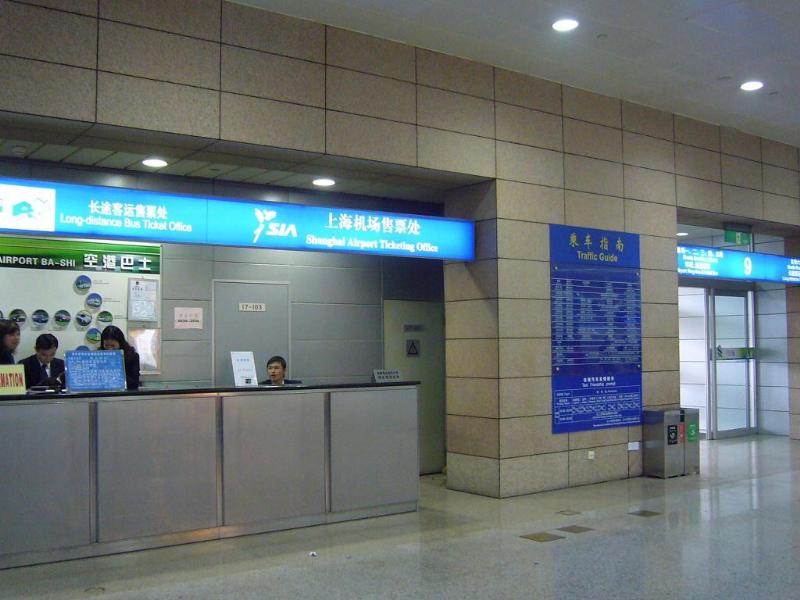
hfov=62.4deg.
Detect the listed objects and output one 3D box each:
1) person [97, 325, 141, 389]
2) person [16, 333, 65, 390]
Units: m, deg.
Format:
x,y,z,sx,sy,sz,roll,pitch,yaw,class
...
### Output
x,y,z,sx,sy,sz,roll,pitch,yaw,class
-2.896,0.553,6.807,0.431,0.608,1.477,1,-4,-24,person
-3.561,0.593,6.582,0.349,0.512,1.316,1,-4,-28,person
